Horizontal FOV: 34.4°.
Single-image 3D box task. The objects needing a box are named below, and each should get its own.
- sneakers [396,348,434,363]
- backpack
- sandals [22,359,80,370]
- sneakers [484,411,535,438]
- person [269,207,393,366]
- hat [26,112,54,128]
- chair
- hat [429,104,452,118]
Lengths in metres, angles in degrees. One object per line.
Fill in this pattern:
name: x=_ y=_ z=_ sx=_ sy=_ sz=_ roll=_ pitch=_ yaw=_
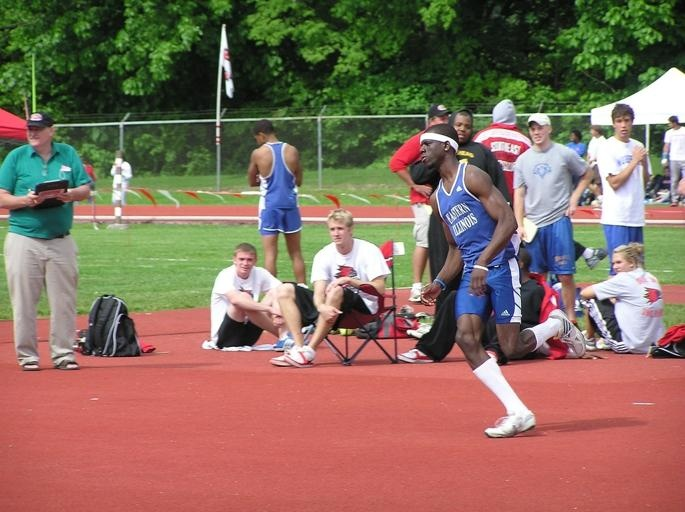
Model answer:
sneakers: x=0.797 y=1.119 z=12.477 sx=0.434 sy=0.139 sz=0.153 roll=5 pitch=-6 yaw=-5
backpack: x=-2.747 y=0.845 z=12.982 sx=0.875 sy=0.660 sz=0.461 roll=0 pitch=-6 yaw=23
sandals: x=-3.149 y=1.147 z=11.919 sx=0.588 sy=0.179 sz=0.171 roll=0 pitch=-2 yaw=-2
sneakers: x=1.523 y=1.533 z=10.115 sx=0.584 sy=0.196 sz=0.187 roll=-13 pitch=16 yaw=11
person: x=-0.141 y=0.347 z=12.437 sx=1.268 sy=1.730 sz=0.856 roll=1 pitch=3 yaw=2
hat: x=-3.269 y=-1.456 z=11.890 sx=0.244 sy=0.180 sz=0.358 roll=1 pitch=2 yaw=-10
chair: x=0.244 y=0.536 z=13.029 sx=1.015 sy=1.303 sz=0.821 roll=-14 pitch=7 yaw=10
hat: x=1.083 y=-1.740 z=13.389 sx=0.320 sy=0.143 sz=0.231 roll=6 pitch=14 yaw=42
